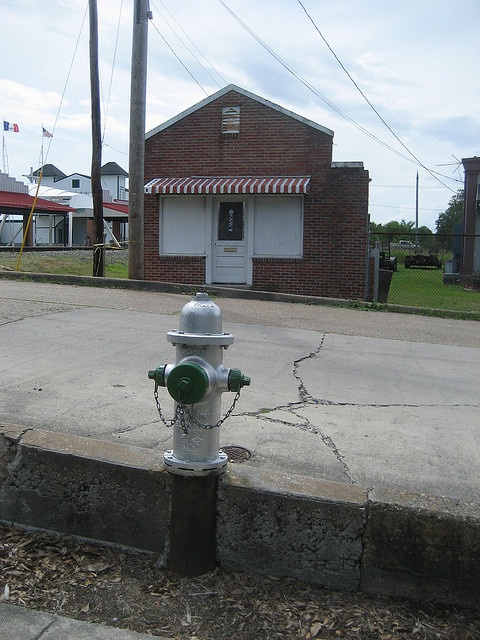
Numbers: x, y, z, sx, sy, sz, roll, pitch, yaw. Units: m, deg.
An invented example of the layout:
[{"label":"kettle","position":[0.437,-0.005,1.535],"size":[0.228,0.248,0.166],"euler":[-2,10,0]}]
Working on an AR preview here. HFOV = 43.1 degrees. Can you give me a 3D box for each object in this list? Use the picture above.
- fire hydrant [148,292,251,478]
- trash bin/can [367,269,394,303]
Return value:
[{"label":"fire hydrant","position":[-0.187,0.287,2.726],"size":[0.432,0.816,0.300],"euler":[-1,10,-10]},{"label":"trash bin/can","position":[3.079,-0.804,13.588],"size":[0.452,0.799,1.805],"euler":[3,13,13]}]
